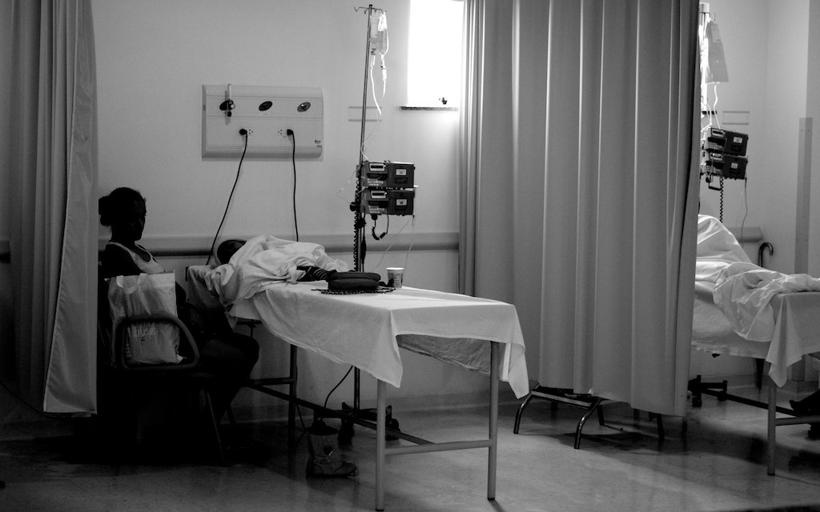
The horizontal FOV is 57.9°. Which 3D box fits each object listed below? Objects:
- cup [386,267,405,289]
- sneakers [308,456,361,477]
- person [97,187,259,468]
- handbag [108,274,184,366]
[{"bbox_3d":[-0.102,0.142,4.914,0.125,0.117,0.125,0,2,0],"label":"cup"},{"bbox_3d":[-0.510,1.341,4.786,0.221,0.071,0.137,2,0,-9],"label":"sneakers"},{"bbox_3d":[-1.599,0.452,5.252,1.113,1.785,0.755,0,11,-6],"label":"person"},{"bbox_3d":[-1.733,0.427,4.836,0.550,0.670,0.371,-1,-11,-15],"label":"handbag"}]
